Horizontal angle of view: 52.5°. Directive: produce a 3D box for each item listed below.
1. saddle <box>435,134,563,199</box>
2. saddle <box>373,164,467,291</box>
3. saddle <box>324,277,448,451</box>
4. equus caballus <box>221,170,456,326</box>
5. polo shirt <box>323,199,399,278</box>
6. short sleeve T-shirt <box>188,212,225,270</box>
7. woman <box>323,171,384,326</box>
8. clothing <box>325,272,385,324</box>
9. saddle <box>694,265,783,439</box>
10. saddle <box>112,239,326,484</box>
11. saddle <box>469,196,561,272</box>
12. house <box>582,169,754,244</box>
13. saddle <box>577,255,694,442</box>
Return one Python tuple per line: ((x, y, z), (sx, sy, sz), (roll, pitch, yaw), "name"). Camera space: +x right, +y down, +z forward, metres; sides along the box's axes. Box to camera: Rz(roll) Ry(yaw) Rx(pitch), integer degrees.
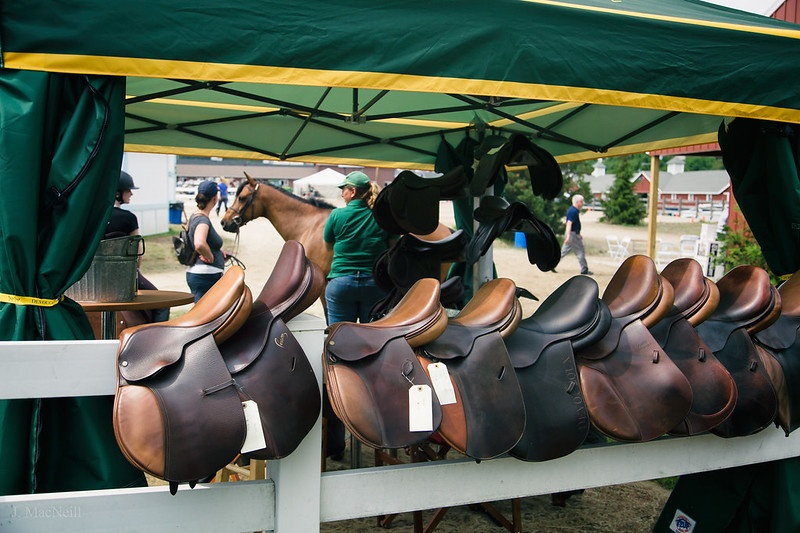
((0.487, -0.575, 4.316), (0.606, 0.271, 0.620), (5, 12, 32), "saddle")
((0.126, -0.195, 4.733), (0.600, 0.901, 0.272), (2, 8, -9), "saddle")
((-0.064, 0.392, 3.362), (0.522, 0.656, 0.413), (2, 6, -17), "saddle")
((-0.524, 0.092, 7.698), (2.235, 1.694, 0.551), (1, -9, -19), "equus caballus")
((-0.306, -0.215, 5.701), (0.471, 0.575, 0.363), (-5, 25, -10), "polo shirt")
((-1.440, -0.165, 6.210), (0.219, 0.429, 0.346), (0, -1, -8), "short sleeve T-shirt")
((-0.296, 0.040, 5.763), (0.438, 1.475, 0.468), (5, 13, 6), "woman")
((-0.311, 0.235, 5.671), (0.380, 0.578, 0.314), (1, 27, -6), "clothing")
((1.625, 0.394, 3.846), (0.429, 0.789, 0.216), (-9, -20, 40), "saddle")
((-0.693, 0.441, 3.126), (0.636, 0.969, 0.314), (1, -9, -29), "saddle")
((0.593, -0.180, 4.167), (0.389, 0.230, 0.415), (19, 18, -18), "saddle")
((8.258, -1.876, 25.540), (3.945, 2.029, 5.733), (-1, 9, 0), "house")
((1.037, 0.442, 3.682), (0.457, 0.860, 0.165), (-4, -19, 1), "saddle")
